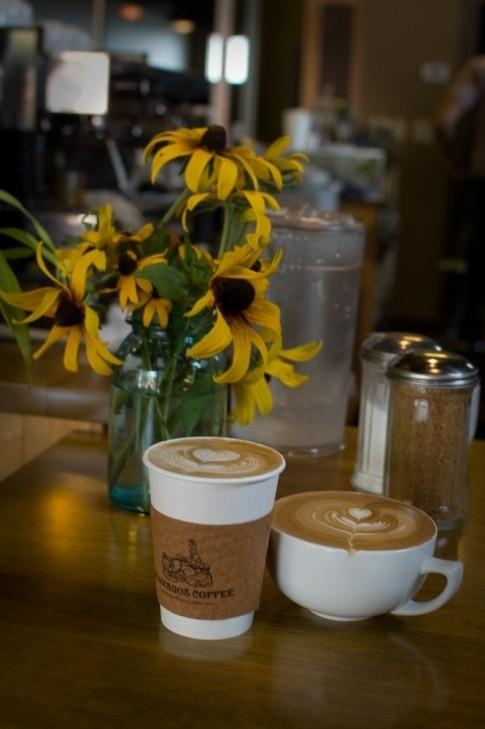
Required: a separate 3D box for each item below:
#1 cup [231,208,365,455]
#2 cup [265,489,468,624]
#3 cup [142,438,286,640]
[{"bbox_3d":[0.053,-0.040,0.766,0.156,0.253,0.157,5,8,-1],"label":"cup"},{"bbox_3d":[0.074,0.131,0.429,0.112,0.068,0.112,3,7,0],"label":"cup"},{"bbox_3d":[-0.021,0.108,0.416,0.086,0.107,0.109,3,7,-5],"label":"cup"}]
